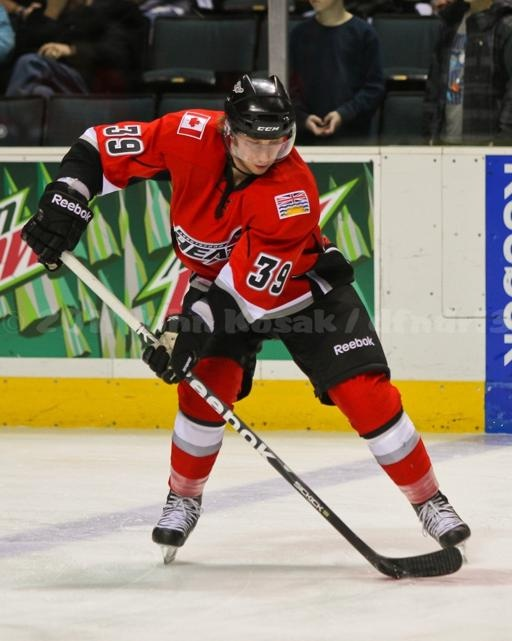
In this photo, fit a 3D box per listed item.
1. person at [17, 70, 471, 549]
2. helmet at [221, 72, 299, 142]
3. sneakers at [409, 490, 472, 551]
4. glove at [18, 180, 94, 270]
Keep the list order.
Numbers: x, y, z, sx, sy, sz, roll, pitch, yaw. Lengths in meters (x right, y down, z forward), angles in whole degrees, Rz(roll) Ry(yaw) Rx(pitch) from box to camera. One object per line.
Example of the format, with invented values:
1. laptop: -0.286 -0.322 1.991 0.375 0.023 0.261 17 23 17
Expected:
1. person: -0.025 -0.029 1.941 1.114 1.134 0.352 2 3 11
2. helmet: 0.009 -0.502 1.835 0.160 0.187 0.173 1 3 -11
3. sneakers: 0.466 0.490 1.974 0.115 0.111 0.298 -25 -7 0
4. glove: -0.502 -0.253 1.983 0.200 0.083 0.246 -17 -19 0
